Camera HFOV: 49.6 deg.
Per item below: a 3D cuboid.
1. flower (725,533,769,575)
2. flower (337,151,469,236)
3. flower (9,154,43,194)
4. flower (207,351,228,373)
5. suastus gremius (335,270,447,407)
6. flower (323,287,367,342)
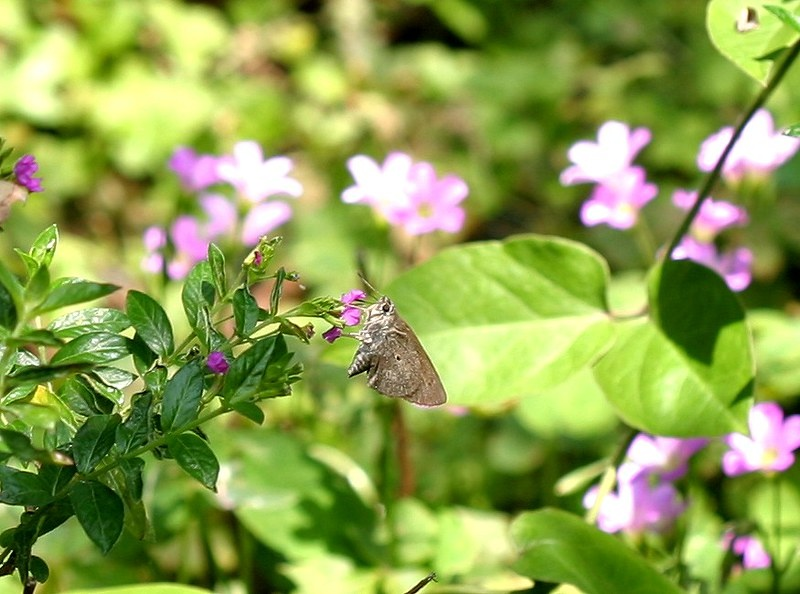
[{"bbox_3d":[0.623,0.452,1.535,0.059,0.070,0.026,-16,15,-5],"label":"flower"},{"bbox_3d":[0.006,-0.181,1.620,0.167,0.054,0.180,21,34,-10],"label":"flower"},{"bbox_3d":[-0.553,-0.183,1.305,0.044,0.055,0.022,0,-7,-5],"label":"flower"},{"bbox_3d":[-0.268,0.096,1.284,0.030,0.029,0.014,-46,12,-19],"label":"flower"},{"bbox_3d":[-0.003,0.076,1.433,0.124,0.190,0.173,-22,-3,-1],"label":"suastus gremius"},{"bbox_3d":[-0.074,0.020,1.314,0.054,0.027,0.080,14,57,37],"label":"flower"}]
